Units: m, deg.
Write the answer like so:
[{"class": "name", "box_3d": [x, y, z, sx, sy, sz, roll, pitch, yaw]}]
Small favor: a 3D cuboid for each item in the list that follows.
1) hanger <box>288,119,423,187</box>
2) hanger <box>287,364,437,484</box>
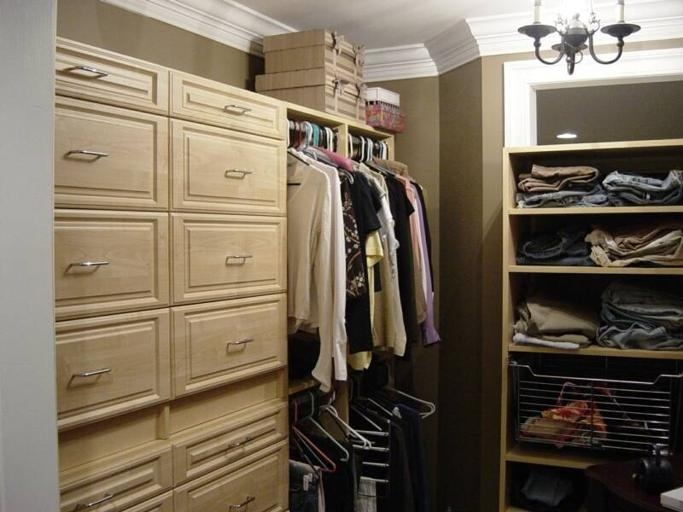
[{"class": "hanger", "box_3d": [0.111, -0.572, 3.015, 0.355, 0.386, 0.951, -2, 3, 34]}, {"class": "hanger", "box_3d": [0.135, 0.981, 2.910, 0.586, 0.301, 0.822, -4, -24, 24]}]
